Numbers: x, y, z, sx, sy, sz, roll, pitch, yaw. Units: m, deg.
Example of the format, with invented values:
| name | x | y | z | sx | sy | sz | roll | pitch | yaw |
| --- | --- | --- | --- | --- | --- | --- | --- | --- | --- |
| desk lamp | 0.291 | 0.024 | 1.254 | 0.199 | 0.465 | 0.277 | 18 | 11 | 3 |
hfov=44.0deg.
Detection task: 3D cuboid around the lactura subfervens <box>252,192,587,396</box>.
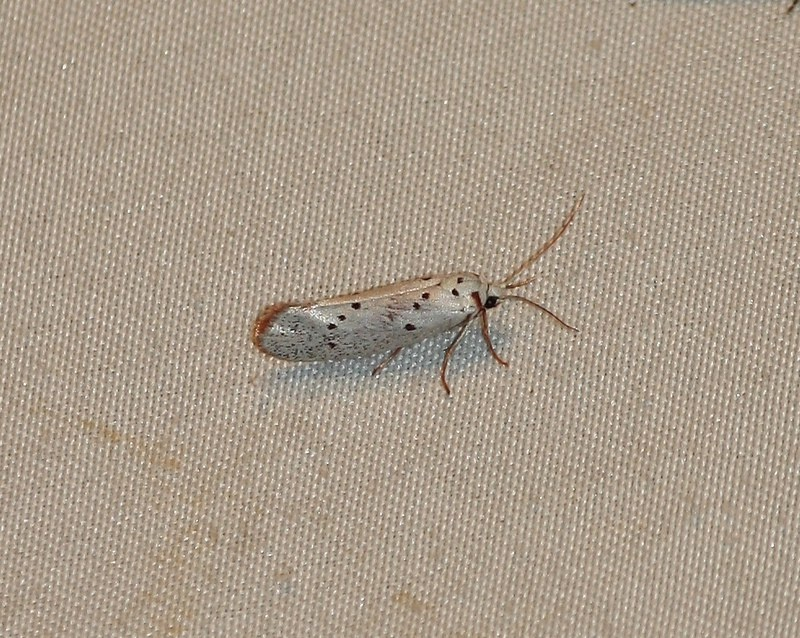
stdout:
| name | x | y | z | sx | sy | sz | roll | pitch | yaw |
| --- | --- | --- | --- | --- | --- | --- | --- | --- | --- |
| lactura subfervens | 0.050 | -0.042 | 2.660 | 0.912 | 0.505 | 0.197 | -6 | 58 | -8 |
